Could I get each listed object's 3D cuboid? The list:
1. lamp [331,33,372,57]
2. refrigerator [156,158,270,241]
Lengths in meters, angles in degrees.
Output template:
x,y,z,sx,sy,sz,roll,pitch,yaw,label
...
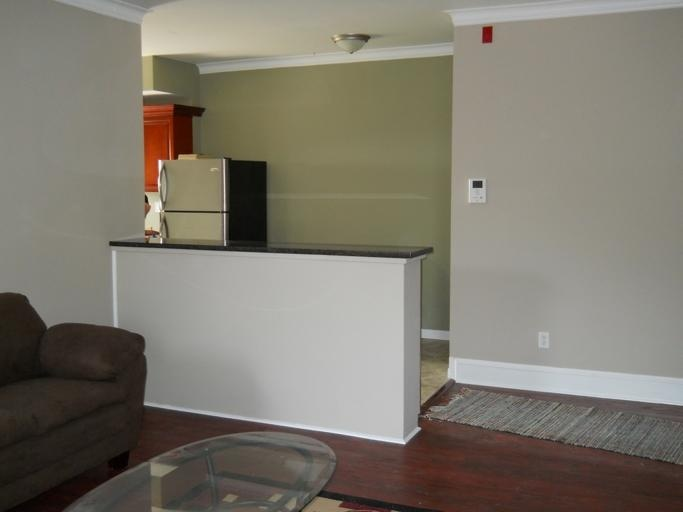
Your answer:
x,y,z,sx,sy,sz,roll,pitch,yaw,label
0.100,-2.128,5.733,0.388,0.147,0.290,1,9,2,lamp
-1.486,-0.632,6.596,1.246,0.960,0.737,0,9,-7,refrigerator
